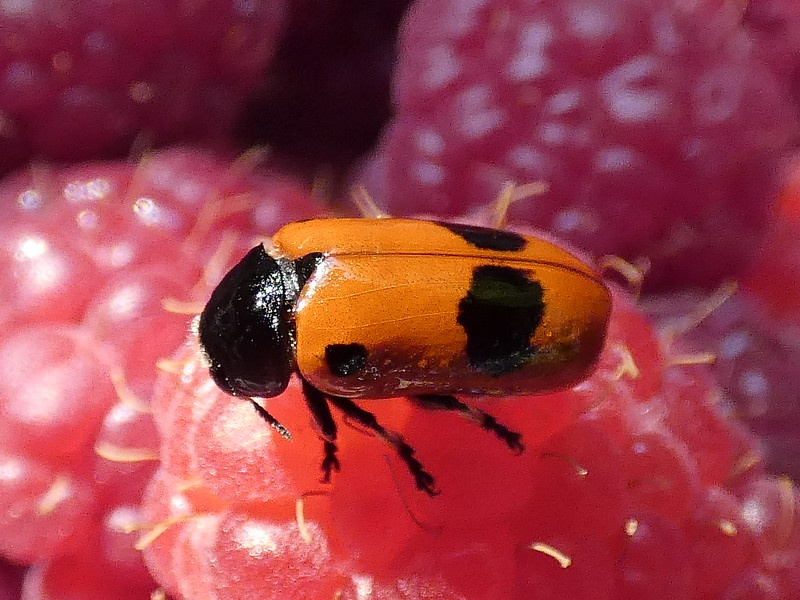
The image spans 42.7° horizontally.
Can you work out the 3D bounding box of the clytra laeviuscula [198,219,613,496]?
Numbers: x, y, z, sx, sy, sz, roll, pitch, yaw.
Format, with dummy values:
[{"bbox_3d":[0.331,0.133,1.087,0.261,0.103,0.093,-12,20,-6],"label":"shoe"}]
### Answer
[{"bbox_3d":[0.006,0.012,1.670,0.664,0.136,0.288,1,81,1],"label":"clytra laeviuscula"}]
